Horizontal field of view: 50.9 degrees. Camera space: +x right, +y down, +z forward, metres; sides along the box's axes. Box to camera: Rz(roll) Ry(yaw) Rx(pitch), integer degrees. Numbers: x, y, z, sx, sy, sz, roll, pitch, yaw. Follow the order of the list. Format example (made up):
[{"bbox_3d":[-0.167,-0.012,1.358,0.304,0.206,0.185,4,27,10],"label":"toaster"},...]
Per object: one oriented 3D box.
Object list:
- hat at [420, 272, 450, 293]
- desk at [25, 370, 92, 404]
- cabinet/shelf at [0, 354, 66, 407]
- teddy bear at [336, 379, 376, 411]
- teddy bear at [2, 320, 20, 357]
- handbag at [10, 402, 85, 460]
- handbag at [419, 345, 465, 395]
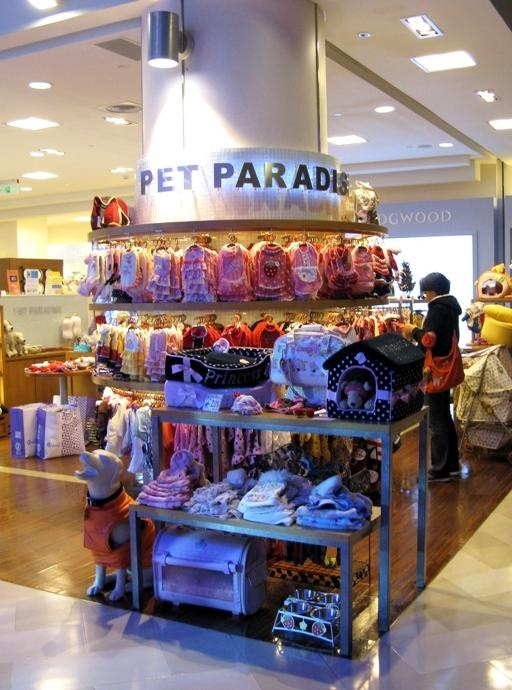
[{"bbox_3d":[1.574,-0.544,4.769,0.182,0.195,0.224,-5,19,-35],"label":"hat"},{"bbox_3d":[-2.580,0.530,7.199,0.784,0.546,0.757,0,0,1],"label":"desk"},{"bbox_3d":[-2.921,0.456,6.969,0.220,0.621,0.688,4,4,34],"label":"cabinet/shelf"},{"bbox_3d":[0.382,0.188,2.052,0.119,0.111,0.115,-4,-1,24],"label":"teddy bear"},{"bbox_3d":[-3.234,-0.081,7.093,0.120,0.460,0.335,-2,-5,4],"label":"teddy bear"},{"bbox_3d":[-2.352,0.977,6.143,0.659,0.566,0.717,-5,3,-8],"label":"handbag"},{"bbox_3d":[1.480,0.185,4.297,0.412,0.500,0.267,-2,8,23],"label":"handbag"}]
